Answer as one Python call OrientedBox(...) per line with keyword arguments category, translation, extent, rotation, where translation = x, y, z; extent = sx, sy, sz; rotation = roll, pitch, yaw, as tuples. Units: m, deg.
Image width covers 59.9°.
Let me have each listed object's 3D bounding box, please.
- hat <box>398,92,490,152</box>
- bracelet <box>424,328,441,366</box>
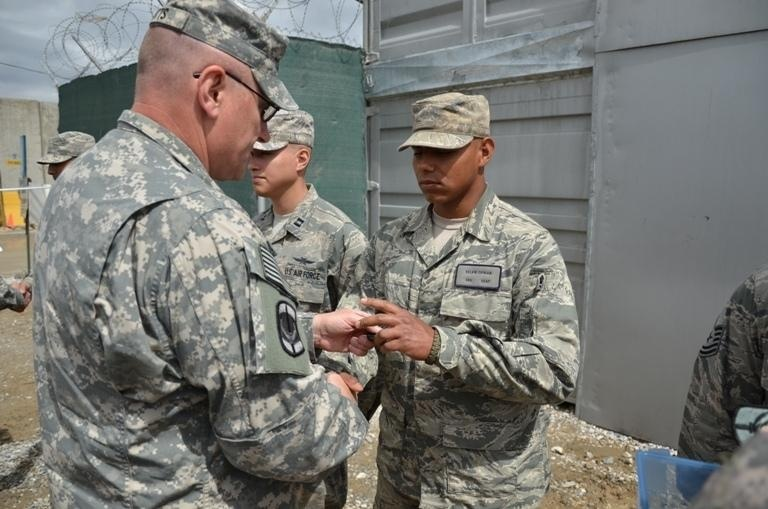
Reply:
OrientedBox(category="hat", translation=(0.323, -0.695, 3.457), extent=(0.381, 0.209, 0.297), rotation=(-7, 5, -28))
OrientedBox(category="bracelet", translation=(0.228, 0.427, 3.000), extent=(0.044, 0.121, 0.102), rotation=(10, -4, -8))
